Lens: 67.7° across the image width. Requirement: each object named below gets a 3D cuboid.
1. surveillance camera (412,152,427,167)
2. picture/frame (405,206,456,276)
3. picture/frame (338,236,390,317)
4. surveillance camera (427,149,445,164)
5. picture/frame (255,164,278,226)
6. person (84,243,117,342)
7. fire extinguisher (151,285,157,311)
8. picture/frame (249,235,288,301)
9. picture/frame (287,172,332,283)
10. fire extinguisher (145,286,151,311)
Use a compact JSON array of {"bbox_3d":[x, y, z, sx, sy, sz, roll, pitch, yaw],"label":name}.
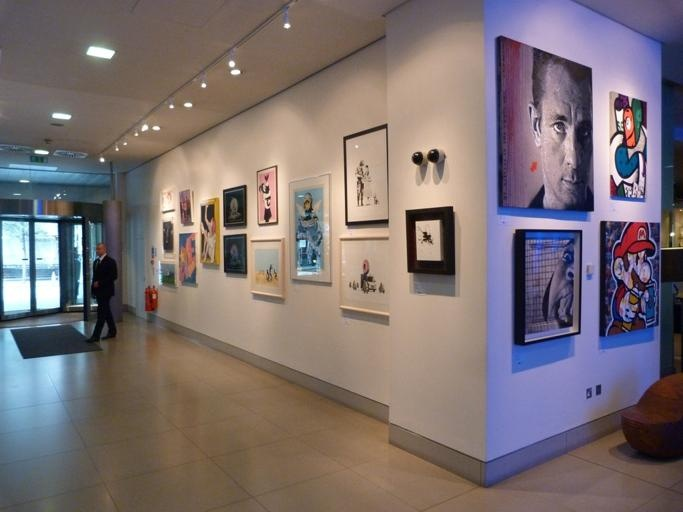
[{"bbox_3d":[0.760,-0.953,5.037,0.130,0.116,0.103,-4,-7,-32],"label":"surveillance camera"},{"bbox_3d":[0.885,-0.152,4.946,0.083,0.726,0.612,3,-2,-33],"label":"picture/frame"},{"bbox_3d":[0.294,0.240,6.137,0.089,1.012,0.894,1,0,-34],"label":"picture/frame"},{"bbox_3d":[0.909,-0.957,4.895,0.170,0.130,0.147,2,5,32],"label":"surveillance camera"},{"bbox_3d":[-1.127,-0.939,7.730,0.043,1.241,0.822,2,-3,-36],"label":"picture/frame"},{"bbox_3d":[-4.987,0.738,10.567,0.566,1.939,0.865,-2,4,-28],"label":"person"},{"bbox_3d":[-4.450,1.020,12.062,0.120,0.565,0.269,-2,4,-29],"label":"fire extinguisher"},{"bbox_3d":[-1.095,0.178,7.724,0.087,0.879,0.899,1,-1,-31],"label":"picture/frame"},{"bbox_3d":[-0.427,-0.372,6.920,0.055,1.426,0.896,-3,4,-40],"label":"picture/frame"},{"bbox_3d":[-4.659,1.047,12.231,0.115,0.608,0.428,-2,4,-24],"label":"fire extinguisher"}]
